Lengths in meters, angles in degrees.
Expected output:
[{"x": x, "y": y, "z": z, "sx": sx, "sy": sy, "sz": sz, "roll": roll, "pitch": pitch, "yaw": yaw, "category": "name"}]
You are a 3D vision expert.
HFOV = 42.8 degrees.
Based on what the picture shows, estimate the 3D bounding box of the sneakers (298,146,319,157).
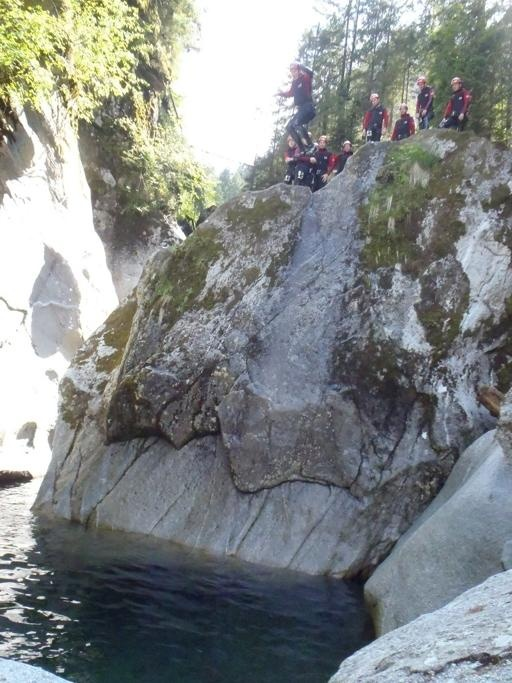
[{"x": 0.947, "y": -3.494, "z": 11.990, "sx": 0.313, "sy": 0.238, "sz": 0.184, "roll": 4, "pitch": -2, "yaw": 4, "category": "sneakers"}]

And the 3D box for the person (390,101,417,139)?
[{"x": 2.826, "y": -4.246, "z": 12.538, "sx": 0.448, "sy": 0.508, "sz": 0.824, "roll": 4, "pitch": -2, "yaw": -1, "category": "person"}]

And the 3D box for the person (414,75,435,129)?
[{"x": 3.327, "y": -4.704, "z": 12.917, "sx": 0.312, "sy": 1.409, "sz": 1.162, "roll": 4, "pitch": -2, "yaw": 12, "category": "person"}]

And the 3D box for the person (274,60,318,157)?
[{"x": 0.796, "y": -4.457, "z": 12.174, "sx": 0.600, "sy": 1.386, "sz": 1.521, "roll": 4, "pitch": -2, "yaw": 4, "category": "person"}]
